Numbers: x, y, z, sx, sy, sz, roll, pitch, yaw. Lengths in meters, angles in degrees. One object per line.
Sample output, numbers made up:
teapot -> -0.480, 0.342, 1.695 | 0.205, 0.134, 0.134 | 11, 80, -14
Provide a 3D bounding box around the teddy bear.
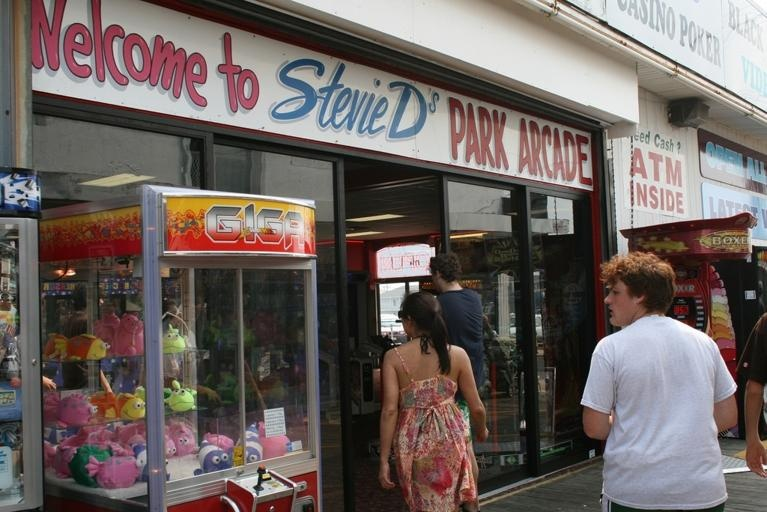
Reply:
teddy bear -> -1.438, 0.748, 4.592 | 1.066, 0.852, 1.090 | -4, 0, 35
